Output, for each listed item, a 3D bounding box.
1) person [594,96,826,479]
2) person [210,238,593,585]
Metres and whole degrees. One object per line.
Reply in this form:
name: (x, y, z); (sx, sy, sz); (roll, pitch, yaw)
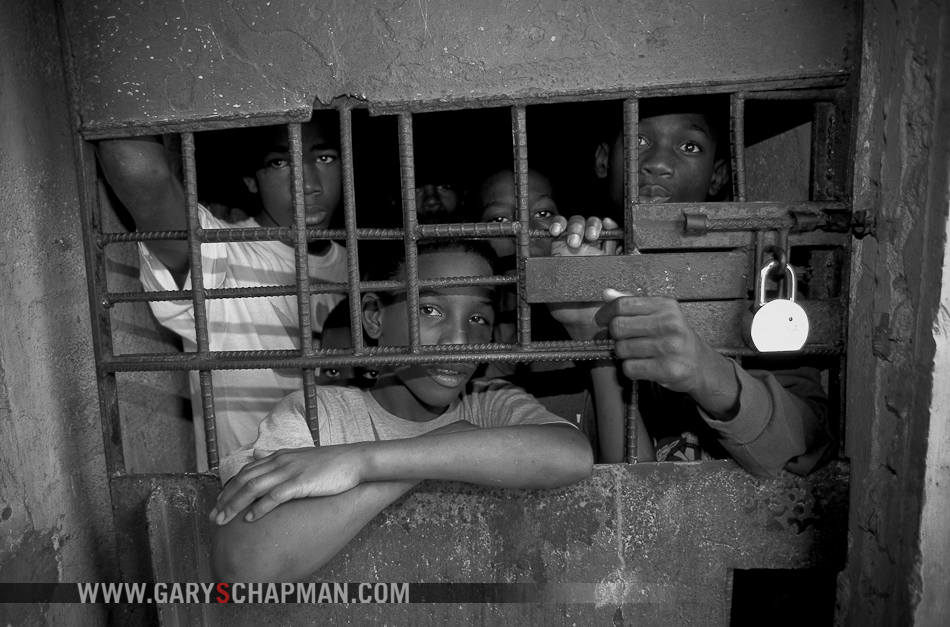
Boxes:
person: (0.775, -0.129, 3.207); (0.698, 1.236, 0.778); (-1, -5, 11)
person: (-0.241, 0.283, 3.203); (1.216, 1.116, 0.758); (-4, 10, -37)
